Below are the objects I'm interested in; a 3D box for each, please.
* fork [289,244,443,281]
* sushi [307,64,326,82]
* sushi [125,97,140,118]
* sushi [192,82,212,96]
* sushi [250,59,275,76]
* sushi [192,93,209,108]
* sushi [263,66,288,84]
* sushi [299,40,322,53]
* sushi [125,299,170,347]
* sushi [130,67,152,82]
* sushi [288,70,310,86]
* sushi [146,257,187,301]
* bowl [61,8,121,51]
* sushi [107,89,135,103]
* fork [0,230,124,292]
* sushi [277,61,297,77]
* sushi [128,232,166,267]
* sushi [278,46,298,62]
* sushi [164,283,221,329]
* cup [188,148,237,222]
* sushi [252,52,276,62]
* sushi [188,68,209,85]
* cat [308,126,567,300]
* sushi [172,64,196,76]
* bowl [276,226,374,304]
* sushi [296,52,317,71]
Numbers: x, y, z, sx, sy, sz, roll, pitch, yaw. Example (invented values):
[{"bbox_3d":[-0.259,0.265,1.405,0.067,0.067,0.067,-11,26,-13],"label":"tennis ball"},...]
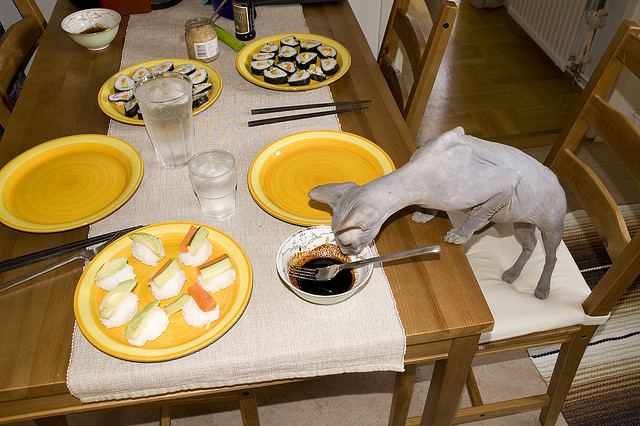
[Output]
[{"bbox_3d":[0.101,0.123,1.116,0.281,0.034,0.040,-9,63,6],"label":"fork"},{"bbox_3d":[-0.011,-0.452,1.522,0.038,0.023,0.063,-18,49,-11],"label":"sushi"},{"bbox_3d":[-0.574,-0.316,1.423,0.041,0.027,0.076,0,44,-4],"label":"sushi"},{"bbox_3d":[-0.372,-0.394,1.505,0.079,0.011,0.041,-26,60,-30],"label":"sushi"},{"bbox_3d":[-0.194,-0.488,1.557,0.070,0.024,0.047,-21,64,-14],"label":"sushi"},{"bbox_3d":[-0.376,-0.352,1.461,0.033,0.029,0.066,14,58,10],"label":"sushi"},{"bbox_3d":[-0.148,-0.449,1.531,0.064,0.023,0.052,19,56,7],"label":"sushi"},{"bbox_3d":[-0.036,-0.575,1.606,0.059,0.022,0.046,-4,53,-4],"label":"sushi"},{"bbox_3d":[-0.379,0.247,1.018,0.098,0.046,0.056,-36,63,-21],"label":"sushi"},{"bbox_3d":[-0.586,-0.451,1.518,0.062,0.018,0.070,-23,60,-14],"label":"sushi"},{"bbox_3d":[-0.067,-0.440,1.522,0.067,0.021,0.065,1,57,1],"label":"sushi"},{"bbox_3d":[-0.356,0.149,1.094,0.085,0.033,0.084,-40,52,3],"label":"sushi"},{"bbox_3d":[-0.821,-0.670,1.683,0.176,0.086,0.185,-1,52,1],"label":"bowl"},{"bbox_3d":[-0.613,-0.356,1.459,0.077,0.024,0.048,-7,56,-3],"label":"sushi"},{"bbox_3d":[-0.618,0.122,1.118,0.281,0.022,0.022,-24,44,-2],"label":"fork"},{"bbox_3d":[-0.105,-0.481,1.556,0.050,0.017,0.063,-20,64,-17],"label":"sushi"},{"bbox_3d":[-0.409,0.088,1.098,0.076,0.027,0.071,43,70,-8],"label":"sushi"},{"bbox_3d":[-0.111,-0.540,1.576,0.052,0.017,0.054,-18,61,-12],"label":"sushi"},{"bbox_3d":[-0.281,0.206,1.041,0.118,0.052,0.078,18,59,12],"label":"sushi"},{"bbox_3d":[-0.270,-0.064,1.182,0.122,0.186,0.124,-1,50,1],"label":"cup"},{"bbox_3d":[-0.192,-0.528,1.582,0.061,0.017,0.035,-3,66,-3],"label":"sushi"},{"bbox_3d":[-0.396,-0.444,1.532,0.059,0.017,0.080,-20,59,-12],"label":"sushi"},{"bbox_3d":[0.338,0.041,1.283,0.722,0.531,0.249,-5,55,-3],"label":"cat"},{"bbox_3d":[-0.449,-0.472,1.540,0.063,0.017,0.048,-13,51,-13],"label":"sushi"},{"bbox_3d":[0.014,0.129,1.097,0.141,0.079,0.106,22,44,25],"label":"bowl"},{"bbox_3d":[-0.050,-0.509,1.564,0.047,0.025,0.068,31,52,21],"label":"sushi"}]
